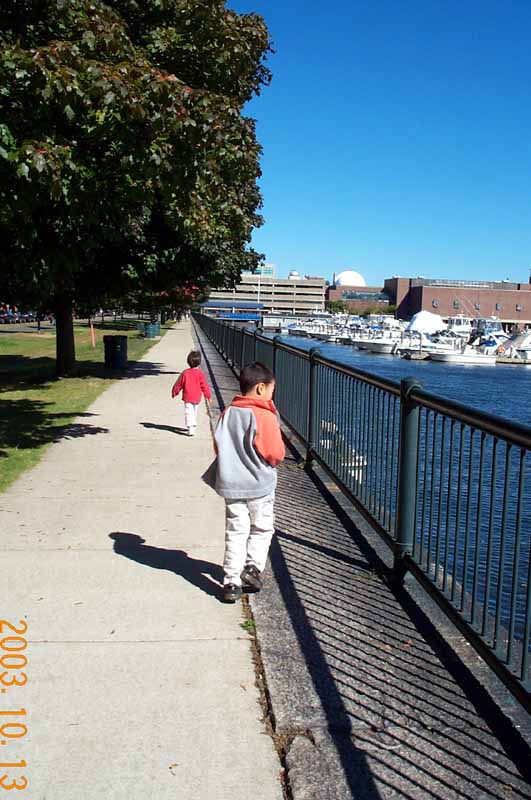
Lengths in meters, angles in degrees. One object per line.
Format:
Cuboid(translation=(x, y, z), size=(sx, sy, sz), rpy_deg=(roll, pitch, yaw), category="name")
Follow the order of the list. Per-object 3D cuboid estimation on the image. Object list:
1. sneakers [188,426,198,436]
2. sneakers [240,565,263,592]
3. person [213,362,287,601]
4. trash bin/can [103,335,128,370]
Cuboid(translation=(-0.997, 0.433, 9.733), size=(0.130, 0.128, 0.121), rpy_deg=(4, 15, -7), category="sneakers")
Cuboid(translation=(-0.080, 1.028, 4.048), size=(0.109, 0.159, 0.109), rpy_deg=(-2, 45, 5), category="sneakers")
Cuboid(translation=(-0.110, 0.460, 3.964), size=(0.375, 1.334, 0.249), rpy_deg=(3, 6, -3), category="person")
Cuboid(translation=(-4.263, -1.350, 20.029), size=(0.604, 0.958, 0.865), rpy_deg=(1, 6, -15), category="trash bin/can")
